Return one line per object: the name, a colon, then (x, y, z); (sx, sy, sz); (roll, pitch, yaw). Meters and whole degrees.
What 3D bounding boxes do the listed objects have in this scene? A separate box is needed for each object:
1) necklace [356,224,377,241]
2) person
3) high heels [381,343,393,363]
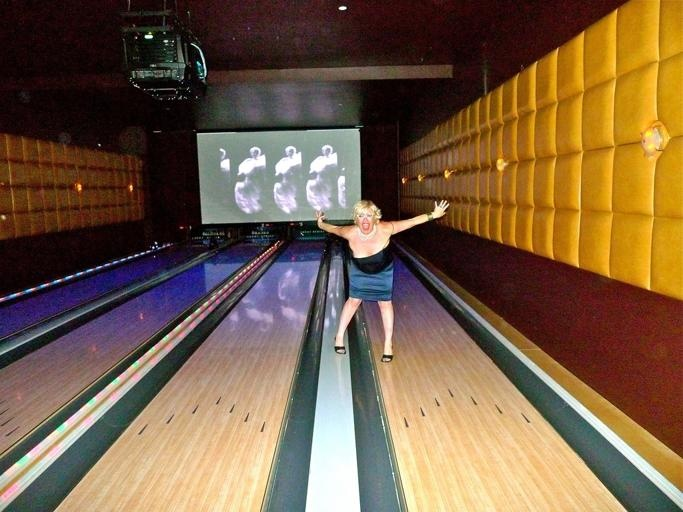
necklace: (0.196, -0.201, 3.477); (0.138, 0.088, 0.091); (1, -34, -1)
person: (0.245, 0.053, 3.774); (0.689, 1.742, 0.758); (0, 1, 1)
high heels: (0.372, 0.789, 3.627); (0.098, 0.159, 0.195); (-4, -35, 6)
